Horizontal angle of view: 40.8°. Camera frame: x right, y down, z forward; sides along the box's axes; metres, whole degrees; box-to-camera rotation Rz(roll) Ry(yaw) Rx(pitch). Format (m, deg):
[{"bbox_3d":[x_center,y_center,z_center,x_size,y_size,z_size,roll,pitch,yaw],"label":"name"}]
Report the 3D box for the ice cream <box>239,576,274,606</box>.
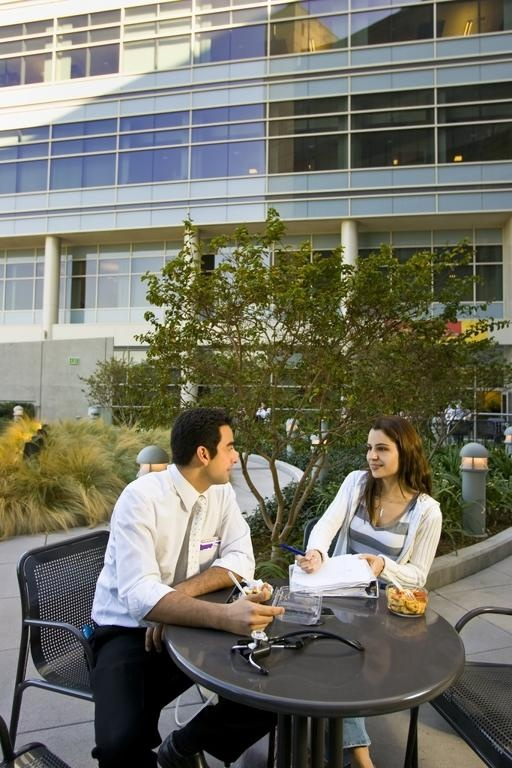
[{"bbox_3d":[0.001,0.728,2.419,0.109,0.050,0.084,4,-2,-23],"label":"ice cream"}]
